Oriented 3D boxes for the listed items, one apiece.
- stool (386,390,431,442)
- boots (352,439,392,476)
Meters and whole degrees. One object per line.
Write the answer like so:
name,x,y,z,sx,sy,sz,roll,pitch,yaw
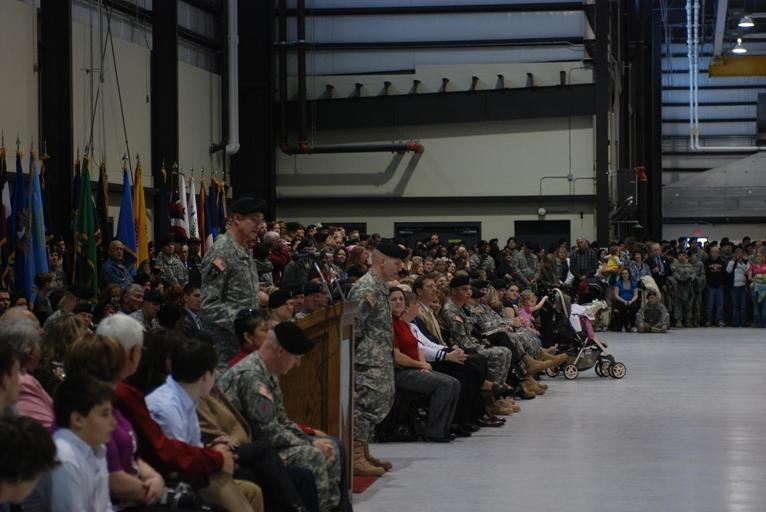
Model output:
stool,0.436,2.060,15.980,0.702,0.660,0.678,6,19,18
boots,-0.182,2.525,14.608,0.658,0.457,0.231,0,-3,0
